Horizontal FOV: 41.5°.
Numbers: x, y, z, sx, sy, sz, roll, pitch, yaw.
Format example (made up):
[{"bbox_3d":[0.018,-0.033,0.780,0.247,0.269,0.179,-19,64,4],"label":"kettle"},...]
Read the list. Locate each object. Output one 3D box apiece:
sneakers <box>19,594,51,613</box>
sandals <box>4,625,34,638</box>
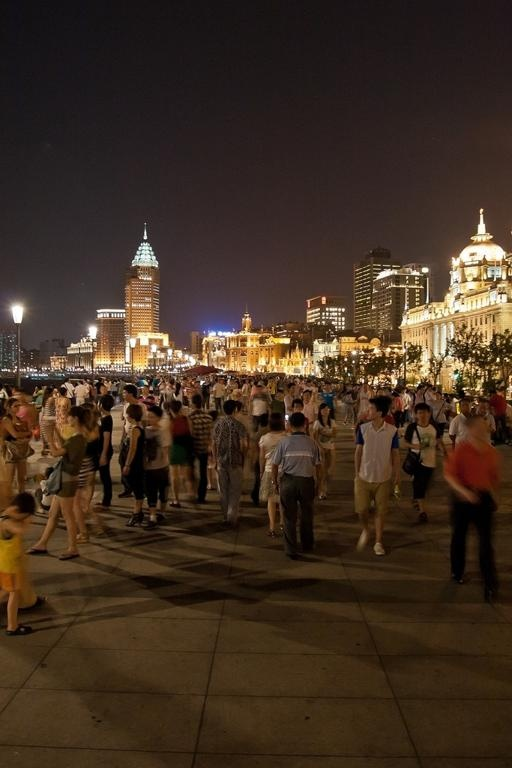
[{"bbox_3d":[-1.970,1.939,5.948,0.124,0.131,0.164,-5,-22,15],"label":"sneakers"},{"bbox_3d":[-1.907,1.977,5.433,0.212,0.092,0.083,4,3,-14],"label":"sandals"}]
